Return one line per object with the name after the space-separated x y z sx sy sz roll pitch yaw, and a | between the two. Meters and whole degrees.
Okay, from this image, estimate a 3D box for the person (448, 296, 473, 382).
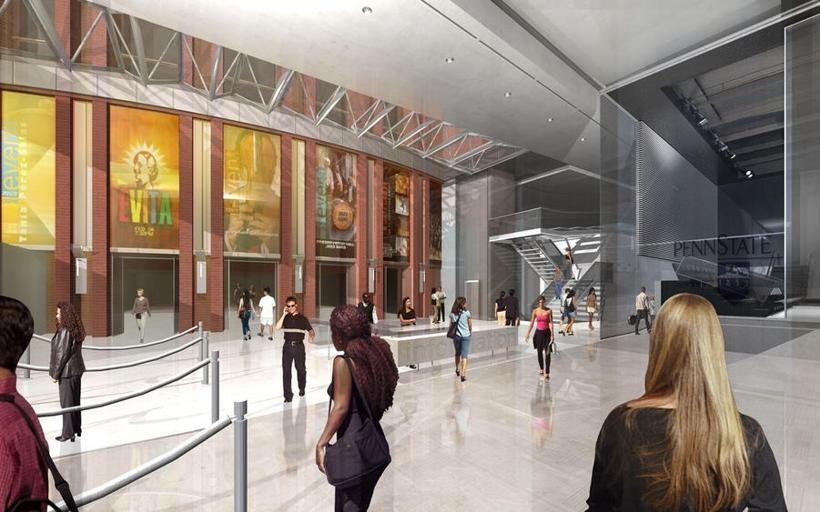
1.345 2.212 13.795 0.629 2.157 1.088 -4 -3 4 | person

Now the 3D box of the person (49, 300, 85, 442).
-6.884 2.297 10.141 0.583 2.761 0.663 -1 -3 -40 | person
